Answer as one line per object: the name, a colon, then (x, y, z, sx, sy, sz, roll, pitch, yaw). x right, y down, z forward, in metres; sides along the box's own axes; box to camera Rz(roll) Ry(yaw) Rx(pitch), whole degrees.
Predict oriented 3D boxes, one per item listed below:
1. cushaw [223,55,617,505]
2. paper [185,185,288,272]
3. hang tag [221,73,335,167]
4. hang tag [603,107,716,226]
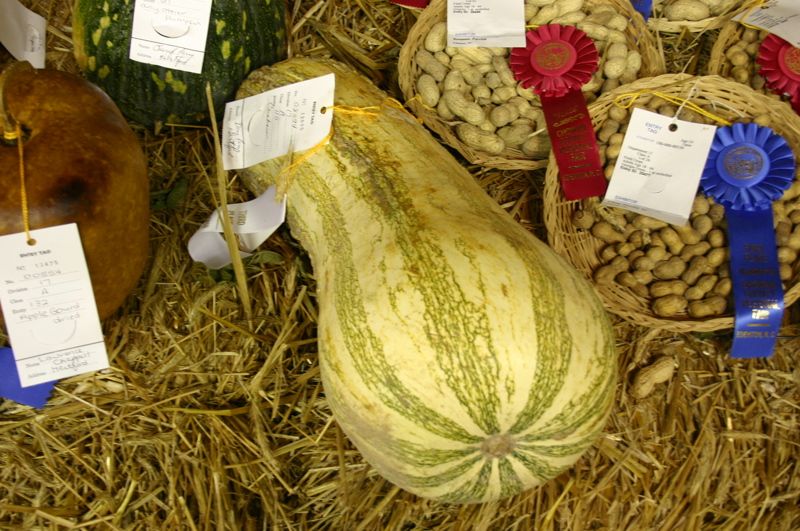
cushaw: (-0.033, 0.050, 2.364, 0.876, 0.700, 1.518, -43, 77, -9)
paper: (-0.555, -0.118, 2.322, 0.365, 0.175, 0.154, -16, 54, 2)
hang tag: (-0.391, -0.478, 2.235, 0.443, 0.043, 0.181, -15, 75, 10)
hang tag: (0.893, -0.345, 2.309, 0.280, 0.351, 0.214, 12, 39, 11)
